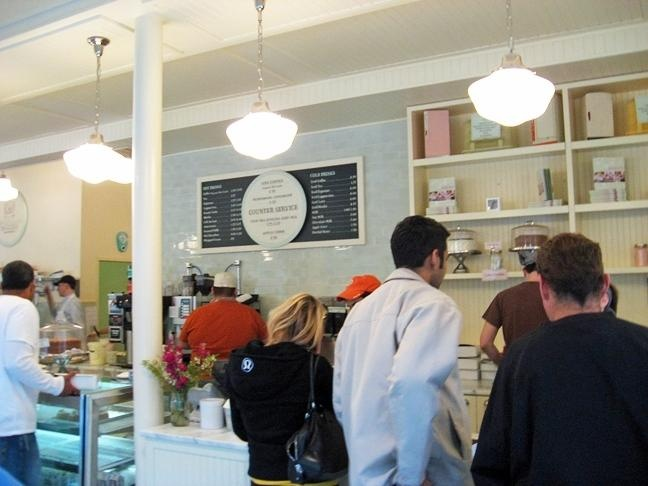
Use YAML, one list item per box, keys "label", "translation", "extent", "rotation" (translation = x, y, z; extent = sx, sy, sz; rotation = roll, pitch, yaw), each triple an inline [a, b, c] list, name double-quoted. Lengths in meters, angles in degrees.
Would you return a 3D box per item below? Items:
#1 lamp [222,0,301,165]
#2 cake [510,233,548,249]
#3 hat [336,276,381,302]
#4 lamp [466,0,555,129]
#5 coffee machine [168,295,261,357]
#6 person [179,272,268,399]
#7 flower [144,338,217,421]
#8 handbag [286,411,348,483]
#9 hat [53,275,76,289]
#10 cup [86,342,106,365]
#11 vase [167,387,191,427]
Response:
- label: "lamp"
  translation: [-0.400, -0.976, 3.928]
  extent: [0.402, 0.981, 1.133]
  rotation: [-1, -6, -4]
- label: "cake"
  translation: [1.546, -0.014, 4.444]
  extent: [0.182, 0.065, 0.185]
  rotation: [-3, -4, 36]
- label: "hat"
  translation: [0.236, 0.259, 3.853]
  extent: [0.177, 0.099, 0.280]
  rotation: [-13, 3, 44]
- label: "lamp"
  translation: [0.972, -0.776, 3.058]
  extent: [0.282, 0.253, 0.337]
  rotation: [4, -8, -45]
- label: "coffee machine"
  translation: [-0.860, 0.659, 4.676]
  extent: [0.851, 0.611, 0.464]
  rotation: [2, 5, 2]
- label: "person"
  translation: [-0.828, 0.837, 4.917]
  extent: [0.728, 1.150, 0.550]
  rotation: [1, 6, -21]
- label: "flower"
  translation: [-0.873, 0.840, 3.487]
  extent: [0.397, 0.461, 0.399]
  rotation: [0, -18, -11]
- label: "handbag"
  translation: [-0.025, 0.927, 2.654]
  extent: [0.194, 0.342, 0.350]
  rotation: [-3, -11, 39]
- label: "hat"
  translation: [-2.844, 0.406, 6.351]
  extent: [0.243, 0.147, 0.158]
  rotation: [14, -7, -3]
- label: "cup"
  translation: [-2.033, 0.976, 5.215]
  extent: [0.179, 0.187, 0.189]
  rotation: [1, 1, 0]
- label: "vase"
  translation: [-0.843, 0.966, 3.450]
  extent: [0.142, 0.201, 0.145]
  rotation: [-12, -14, 42]
